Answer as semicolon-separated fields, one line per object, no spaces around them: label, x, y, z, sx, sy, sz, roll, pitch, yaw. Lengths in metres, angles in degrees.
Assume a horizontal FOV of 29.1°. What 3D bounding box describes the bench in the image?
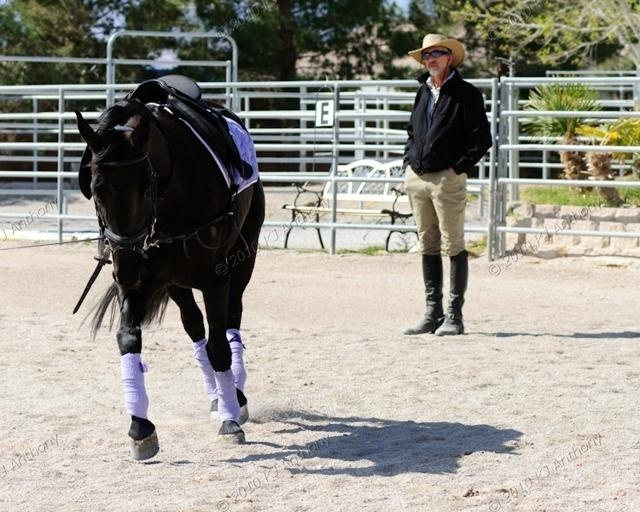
bench;0.487;-0.692;17.006;0.993;1.284;2.225;-2;4;-37

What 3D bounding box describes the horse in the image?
horse;-1.041;0.151;9.296;0.782;2.658;1.687;4;7;41

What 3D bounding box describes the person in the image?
person;1.155;-0.639;11.164;0.773;2.711;0.487;0;5;5

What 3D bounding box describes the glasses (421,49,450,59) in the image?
glasses;1.038;-1.802;10.971;0.233;0.084;0.070;0;5;7
